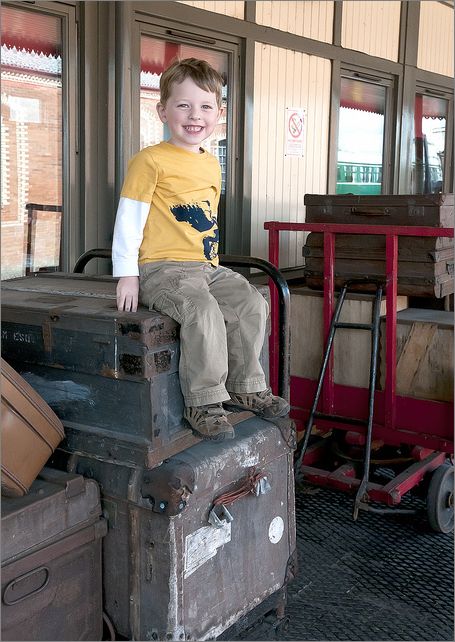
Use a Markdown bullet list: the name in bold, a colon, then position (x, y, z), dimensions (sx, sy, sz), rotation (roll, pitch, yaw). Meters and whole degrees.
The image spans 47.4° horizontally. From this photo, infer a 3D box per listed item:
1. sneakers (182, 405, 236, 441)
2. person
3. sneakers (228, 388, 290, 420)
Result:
- **sneakers**: position (-0.058, 0.278, 1.466), dimensions (0.065, 0.074, 0.164), rotation (-7, 7, -34)
- **person**: position (-0.069, -0.249, 1.667), dimensions (0.524, 1.210, 0.540), rotation (4, 3, 20)
- **sneakers**: position (0.103, 0.270, 1.762), dimensions (0.251, 0.120, 0.084), rotation (2, 24, 4)
